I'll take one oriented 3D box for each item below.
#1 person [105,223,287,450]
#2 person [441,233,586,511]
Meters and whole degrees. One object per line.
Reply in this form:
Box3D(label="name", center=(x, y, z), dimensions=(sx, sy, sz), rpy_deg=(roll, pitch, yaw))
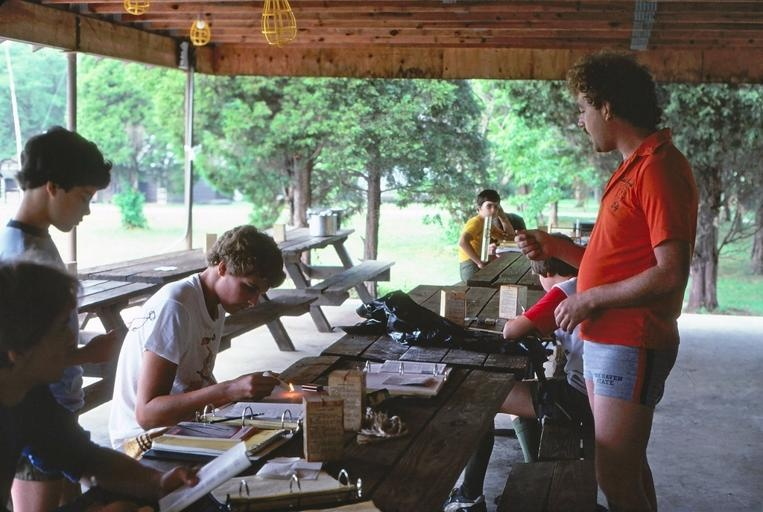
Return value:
Box3D(label="person", center=(-0.727, 0.549, 2.897), dimensions=(0.694, 1.294, 0.714), rpy_deg=(3, 7, 0))
Box3D(label="person", center=(0.674, 0.623, 3.294), dimensions=(0.701, 0.389, 1.547), rpy_deg=(4, 14, 22))
